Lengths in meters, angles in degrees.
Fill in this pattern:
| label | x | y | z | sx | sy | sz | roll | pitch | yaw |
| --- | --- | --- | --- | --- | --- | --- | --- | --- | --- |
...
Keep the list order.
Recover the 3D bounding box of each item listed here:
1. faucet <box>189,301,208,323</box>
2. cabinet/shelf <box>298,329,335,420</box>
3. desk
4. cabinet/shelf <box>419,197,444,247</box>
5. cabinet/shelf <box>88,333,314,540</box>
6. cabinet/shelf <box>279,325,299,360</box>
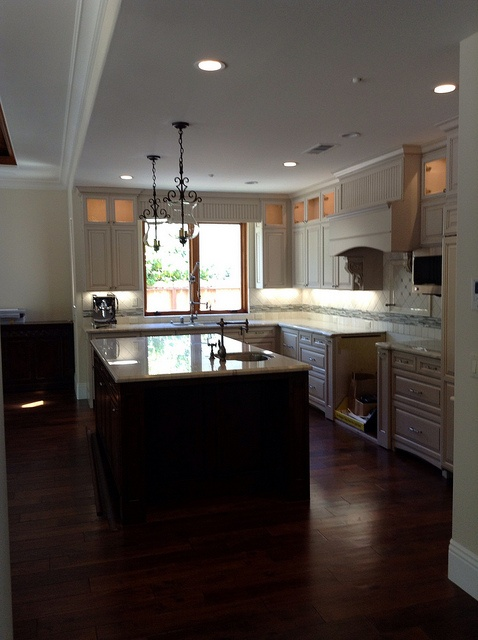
| label | x | y | z | sx | sy | sz | roll | pitch | yaw |
| --- | --- | --- | --- | --- | --- | --- | --- | --- | --- |
| faucet | -0.598 | -0.132 | 6.844 | 0.258 | 0.311 | 0.557 | -2 | 5 | -2 |
| cabinet/shelf | 1.016 | 0.597 | 5.633 | 0.396 | 0.932 | 0.893 | -1 | 4 | -23 |
| desk | -2.876 | 0.528 | 6.616 | 0.905 | 1.015 | 0.358 | -1 | 3 | -18 |
| cabinet/shelf | 1.659 | -0.848 | 4.032 | 0.090 | 0.425 | 0.374 | -1 | 5 | 2 |
| cabinet/shelf | -0.276 | 0.566 | 3.829 | 1.242 | 0.963 | 1.914 | -1 | 14 | -4 |
| cabinet/shelf | 0.669 | 0.315 | 6.327 | 0.270 | 0.493 | 0.306 | 3 | -3 | -11 |
